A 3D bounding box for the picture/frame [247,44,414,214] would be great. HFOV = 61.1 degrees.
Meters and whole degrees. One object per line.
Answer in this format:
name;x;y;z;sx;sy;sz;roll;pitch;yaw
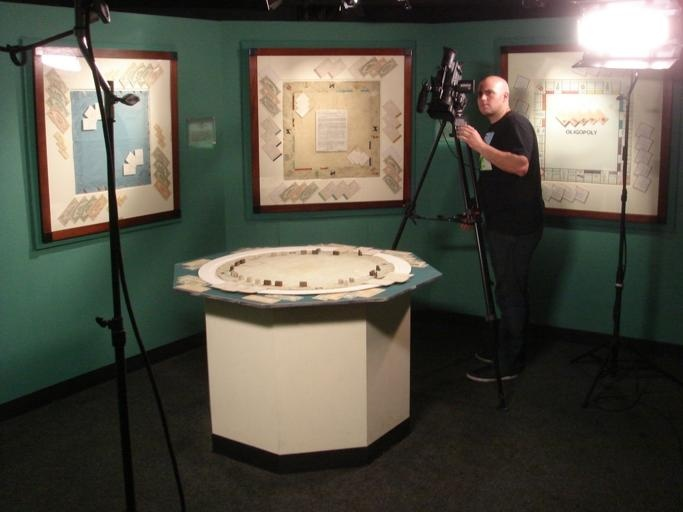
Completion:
picture/frame;-0.145;-1.109;4.794;1.340;1.358;0.099;-3;15;-7
